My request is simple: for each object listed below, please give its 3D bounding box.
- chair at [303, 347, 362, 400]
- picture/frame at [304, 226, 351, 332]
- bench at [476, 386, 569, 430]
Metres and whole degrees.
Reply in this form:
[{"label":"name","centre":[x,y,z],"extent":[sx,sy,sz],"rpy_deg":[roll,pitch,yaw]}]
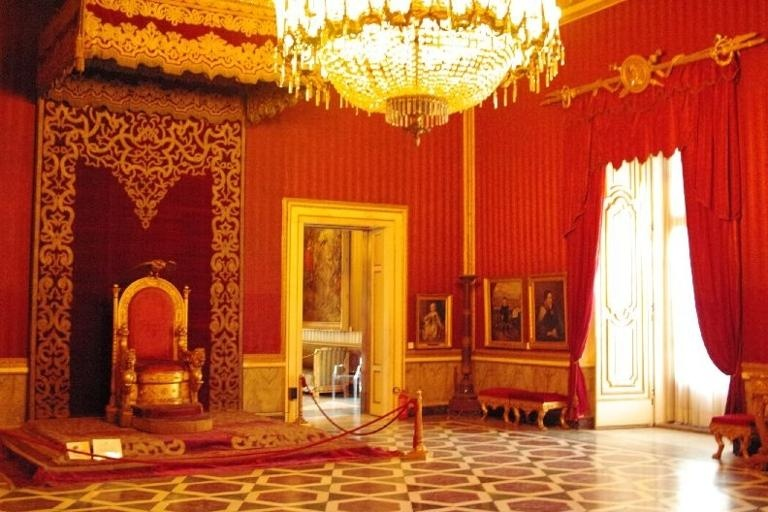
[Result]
[{"label":"chair","centre":[-1.063,2.641,16.864],"extent":[1.207,1.683,1.215],"rpy_deg":[4,-8,-23]},{"label":"picture/frame","centre":[-1.336,0.604,17.816],"extent":[0.154,3.427,2.391],"rpy_deg":[1,-2,-29]},{"label":"bench","centre":[2.465,2.634,12.900],"extent":[0.603,0.535,1.594],"rpy_deg":[2,-1,-42]}]
